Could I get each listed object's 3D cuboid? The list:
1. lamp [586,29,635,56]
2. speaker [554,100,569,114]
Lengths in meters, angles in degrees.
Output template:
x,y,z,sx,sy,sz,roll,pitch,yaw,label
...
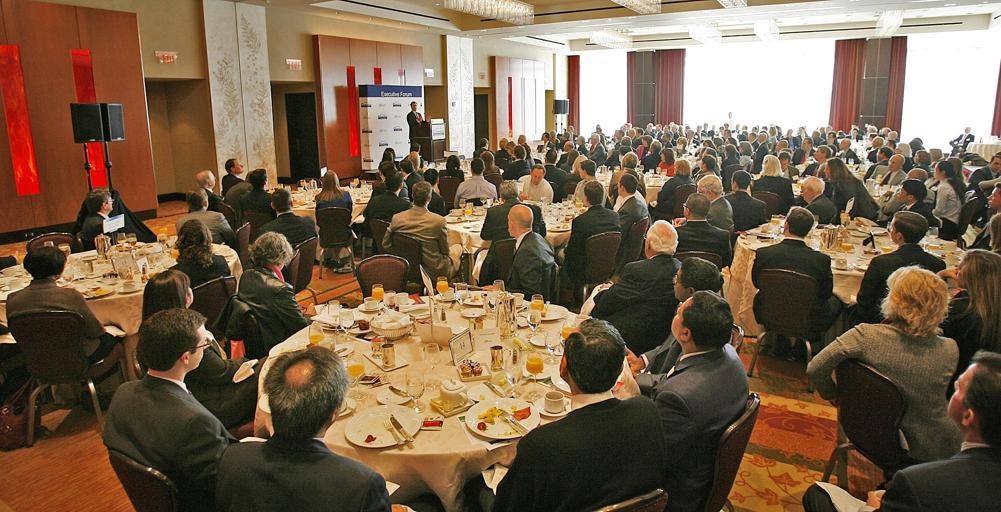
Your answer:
x,y,z,sx,sy,sz,roll,pitch,yaw,label
3.819,-7.501,22.434,0.724,0.467,2.782,8,16,24,lamp
2.255,-5.467,23.829,0.686,0.597,0.596,-1,12,-11,speaker
